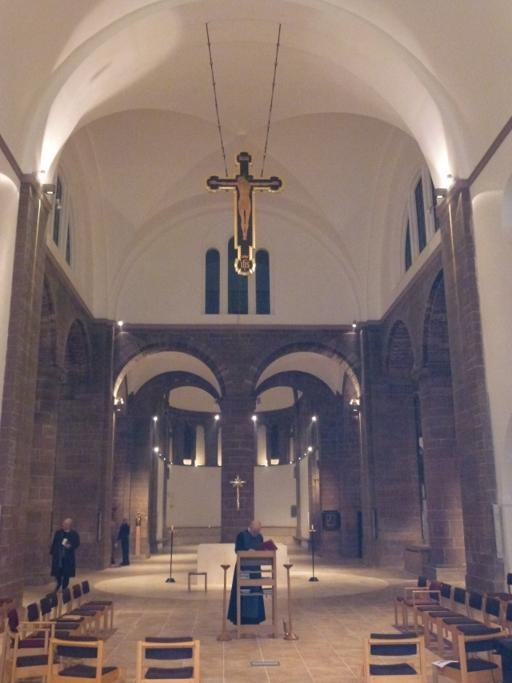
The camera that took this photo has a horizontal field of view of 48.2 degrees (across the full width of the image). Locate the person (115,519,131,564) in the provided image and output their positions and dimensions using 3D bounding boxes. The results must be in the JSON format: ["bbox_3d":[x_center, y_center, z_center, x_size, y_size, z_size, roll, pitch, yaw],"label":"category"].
[{"bbox_3d":[-4.294,6.528,18.578,0.392,1.422,1.939,4,-18,-13],"label":"person"}]

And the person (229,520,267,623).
[{"bbox_3d":[-0.125,2.966,7.186,0.468,1.270,1.225,1,-17,-2],"label":"person"}]
